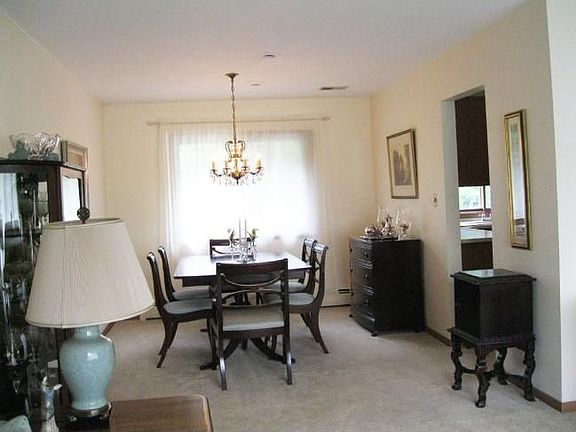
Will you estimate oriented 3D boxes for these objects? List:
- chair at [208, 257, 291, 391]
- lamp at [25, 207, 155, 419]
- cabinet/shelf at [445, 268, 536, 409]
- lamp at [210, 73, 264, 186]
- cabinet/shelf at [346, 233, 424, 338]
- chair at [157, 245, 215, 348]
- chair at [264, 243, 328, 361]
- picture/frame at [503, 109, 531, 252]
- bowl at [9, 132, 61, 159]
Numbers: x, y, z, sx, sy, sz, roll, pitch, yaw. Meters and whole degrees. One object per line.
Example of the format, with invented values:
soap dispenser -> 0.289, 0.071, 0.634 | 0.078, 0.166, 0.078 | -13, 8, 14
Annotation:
chair -> -0.395, 0.896, 4.350 | 0.841, 1.126, 1.024 | -3, 7, -5
lamp -> -0.942, 0.475, 2.144 | 0.545, 0.985, 0.279 | -2, 7, 3
cabinet/shelf -> 1.651, 0.959, 3.718 | 0.614, 0.990, 0.518 | -3, 7, -7
lamp -> -0.621, -0.984, 5.497 | 0.690, 1.276, 1.345 | -3, 7, -10
cabinet/shelf -> 1.100, 0.755, 5.391 | 0.571, 1.053, 0.783 | -4, 6, -12
chair -> -1.184, 0.786, 5.240 | 0.568, 0.804, 0.482 | -12, -10, -27
chair -> 0.179, 0.853, 5.180 | 0.880, 1.528, 0.907 | 2, -2, -10
picture/frame -> 1.863, -0.327, 3.689 | 0.036, 1.105, 0.293 | -6, 4, 0
bowl -> -1.940, -0.552, 3.498 | 0.353, 0.166, 0.354 | -3, 4, 0
